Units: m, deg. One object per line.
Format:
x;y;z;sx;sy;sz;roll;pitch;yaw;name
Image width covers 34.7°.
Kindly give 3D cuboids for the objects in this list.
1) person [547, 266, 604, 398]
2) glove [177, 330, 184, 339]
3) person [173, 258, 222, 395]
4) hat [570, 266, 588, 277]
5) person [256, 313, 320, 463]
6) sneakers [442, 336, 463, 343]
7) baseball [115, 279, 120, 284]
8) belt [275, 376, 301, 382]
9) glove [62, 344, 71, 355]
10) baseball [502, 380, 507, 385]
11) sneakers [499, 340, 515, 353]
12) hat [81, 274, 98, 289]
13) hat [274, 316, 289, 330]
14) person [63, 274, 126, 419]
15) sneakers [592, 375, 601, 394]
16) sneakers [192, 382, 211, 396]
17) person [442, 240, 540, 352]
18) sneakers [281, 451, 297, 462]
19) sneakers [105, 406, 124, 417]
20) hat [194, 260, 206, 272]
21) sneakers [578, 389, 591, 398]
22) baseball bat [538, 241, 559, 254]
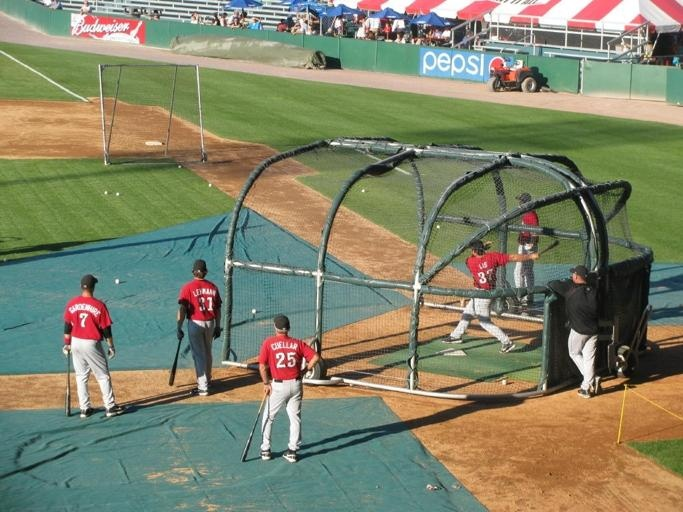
4.773;1.498;21.780;0.877;2.650;0.387;12;19;35;person
-3.204;1.543;21.489;0.121;0.241;0.334;-2;13;-9;glove
-2.849;1.612;21.535;0.847;2.274;0.581;0;15;-3;person
4.788;0.287;21.606;0.280;0.138;0.207;30;25;25;hat
-1.013;2.435;19.906;0.991;2.635;0.708;0;15;-4;person
2.445;1.820;23.800;0.378;0.111;0.179;2;5;1;sneakers
-5.343;0.613;25.713;0.131;0.098;0.114;-2;-6;3;baseball
-0.993;2.244;19.843;0.480;0.095;0.061;-1;14;-9;belt
-5.264;1.778;20.821;0.171;0.174;0.201;0;12;-20;glove
3.356;2.570;22.153;0.102;0.074;0.084;2;9;14;baseball
3.593;1.931;23.282;0.427;0.135;0.194;-30;-38;28;sneakers
-4.889;0.479;20.811;0.280;0.193;0.334;7;34;6;hat
-1.116;1.203;20.023;0.267;0.267;0.469;0;13;-5;hat
-4.792;1.732;20.712;1.140;2.678;0.723;2;15;5;person
5.185;2.600;21.940;0.207;0.372;0.154;11;45;18;sneakers
-2.723;2.667;21.667;0.484;0.248;0.157;3;7;12;sneakers
3.108;0.863;23.297;1.040;2.357;1.240;-10;18;-35;person
-0.942;3.669;19.926;0.184;0.145;0.262;0;21;-11;sneakers
-4.391;2.958;20.890;0.410;0.141;0.158;-13;32;-28;sneakers
-2.816;0.211;21.637;0.239;0.155;0.302;19;14;8;hat
4.903;2.752;21.884;0.145;0.162;0.264;-5;23;-10;sneakers
5.038;-0.221;26.314;0.128;0.130;0.626;4;-25;-43;baseball bat
